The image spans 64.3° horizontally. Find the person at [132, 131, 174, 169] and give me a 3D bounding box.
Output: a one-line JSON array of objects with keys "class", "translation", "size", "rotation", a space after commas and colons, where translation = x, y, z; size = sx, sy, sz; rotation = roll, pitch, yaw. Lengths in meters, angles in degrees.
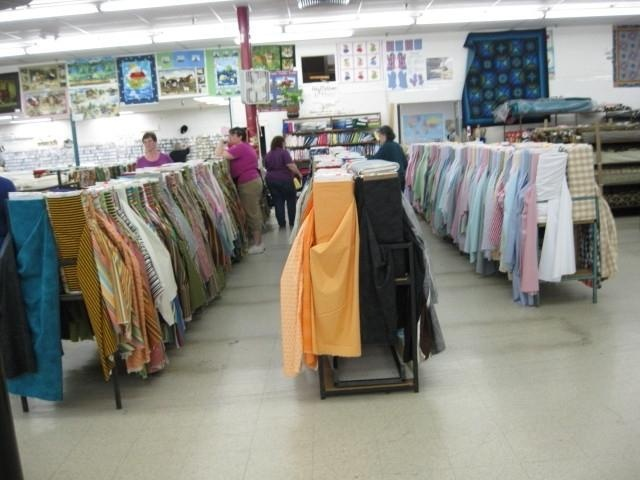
[{"class": "person", "translation": [-2.390, -1.295, 7.275], "size": [0.478, 0.487, 0.756], "rotation": [-9, 14, -24]}]

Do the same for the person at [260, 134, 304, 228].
[{"class": "person", "translation": [-0.677, -1.016, 9.246], "size": [0.600, 1.719, 0.808], "rotation": [-4, 13, -3]}]

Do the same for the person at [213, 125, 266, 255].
[{"class": "person", "translation": [-1.189, -0.777, 7.790], "size": [0.601, 1.860, 0.876], "rotation": [-6, 13, -11]}]
